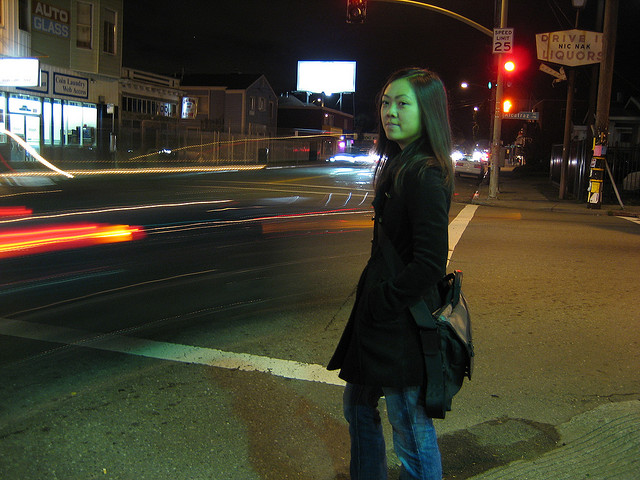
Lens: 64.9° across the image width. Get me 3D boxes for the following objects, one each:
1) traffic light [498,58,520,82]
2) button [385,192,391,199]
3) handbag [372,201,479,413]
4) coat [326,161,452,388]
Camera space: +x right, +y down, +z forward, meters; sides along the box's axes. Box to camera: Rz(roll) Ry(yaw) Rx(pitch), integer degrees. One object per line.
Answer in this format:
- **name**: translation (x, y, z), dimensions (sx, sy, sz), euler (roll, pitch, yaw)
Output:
- **traffic light**: translation (9.191, -8.301, 24.667), dimensions (0.755, 1.131, 1.523), euler (5, 10, 28)
- **button**: translation (0.330, -0.214, 2.443), dimensions (0.005, 0.025, 0.025), euler (-36, 9, 9)
- **handbag**: translation (0.512, 0.353, 2.446), dimensions (0.482, 0.910, 0.336), euler (1, 8, 3)
- **coat**: translation (0.354, 0.167, 2.404), dimensions (0.473, 1.062, 0.270), euler (3, 8, 19)
